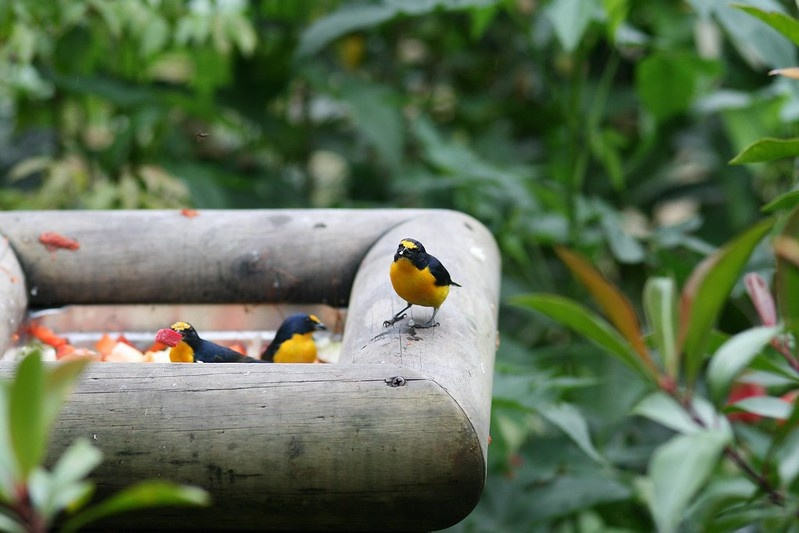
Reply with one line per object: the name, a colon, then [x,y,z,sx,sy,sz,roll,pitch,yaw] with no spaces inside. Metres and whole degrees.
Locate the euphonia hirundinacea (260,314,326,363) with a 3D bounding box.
euphonia hirundinacea: [-0.435,0.295,4.341,0.251,0.170,0.229,-4,94,-5]

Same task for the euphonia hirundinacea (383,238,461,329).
euphonia hirundinacea: [0.088,0.053,3.979,0.222,0.325,0.453,8,8,27]
